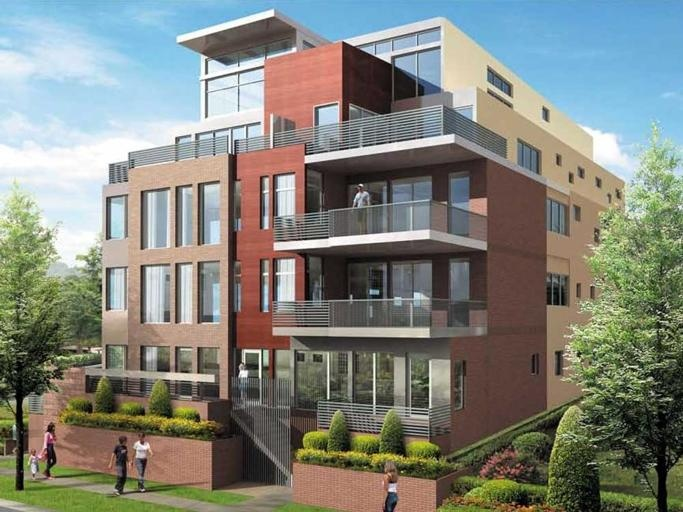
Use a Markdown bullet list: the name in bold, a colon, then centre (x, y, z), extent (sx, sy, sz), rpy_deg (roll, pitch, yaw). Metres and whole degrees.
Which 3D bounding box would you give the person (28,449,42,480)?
- **person**: centre (-13.146, 8.860, 34.510), extent (0.456, 1.226, 2.053), rpy_deg (7, -14, -20)
